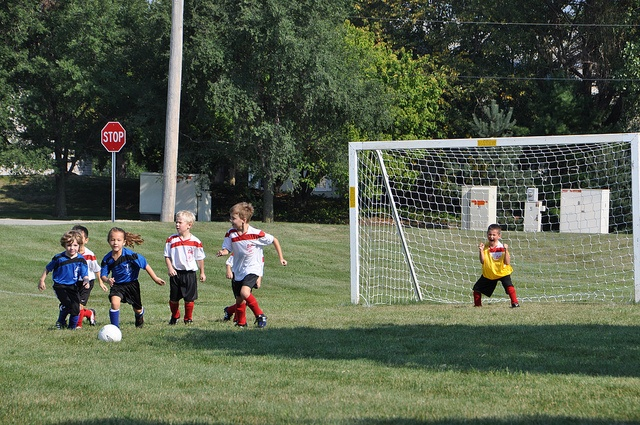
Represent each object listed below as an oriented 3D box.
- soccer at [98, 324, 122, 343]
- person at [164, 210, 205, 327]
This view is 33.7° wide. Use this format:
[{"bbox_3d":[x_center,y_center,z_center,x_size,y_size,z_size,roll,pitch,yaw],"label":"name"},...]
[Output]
[{"bbox_3d":[-7.196,4.137,36.280,0.590,0.591,0.604,-3,14,16],"label":"soccer"},{"bbox_3d":[-4.842,2.014,37.589,1.467,4.060,1.151,-1,5,-11],"label":"person"}]
